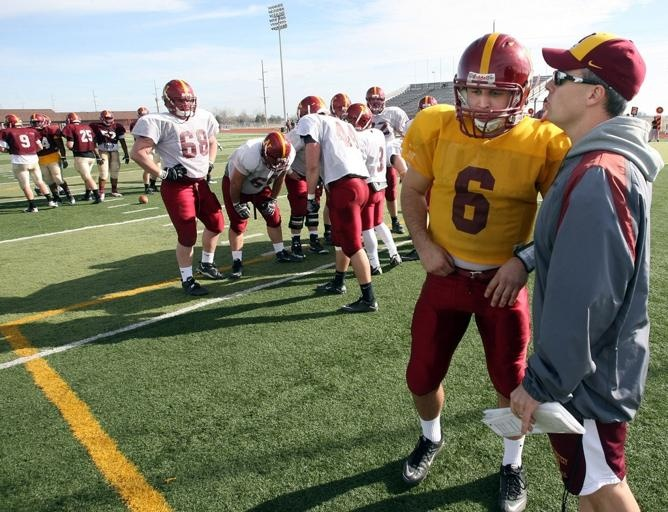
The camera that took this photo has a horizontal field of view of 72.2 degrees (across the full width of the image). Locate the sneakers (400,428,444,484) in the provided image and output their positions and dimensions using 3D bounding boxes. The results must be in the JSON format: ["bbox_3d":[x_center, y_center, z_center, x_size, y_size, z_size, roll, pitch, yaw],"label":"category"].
[{"bbox_3d":[0.467,1.031,2.431,0.108,0.127,0.324,22,36,30],"label":"sneakers"}]

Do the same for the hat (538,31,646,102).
[{"bbox_3d":[0.948,-0.689,1.657,0.383,0.181,0.246,30,21,26],"label":"hat"}]

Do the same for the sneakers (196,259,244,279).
[{"bbox_3d":[-1.286,0.150,5.378,0.614,0.229,0.197,0,13,-7],"label":"sneakers"}]

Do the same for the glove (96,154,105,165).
[{"bbox_3d":[-5.115,-2.098,9.973,0.176,0.218,0.128,28,21,31],"label":"glove"}]

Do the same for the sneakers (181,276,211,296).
[{"bbox_3d":[-1.419,0.328,4.821,0.373,0.144,0.139,16,35,38],"label":"sneakers"}]

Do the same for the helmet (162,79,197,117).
[{"bbox_3d":[-1.605,-1.662,4.747,0.415,0.303,0.306,28,31,26],"label":"helmet"}]

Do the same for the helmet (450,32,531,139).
[{"bbox_3d":[0.724,-0.775,2.072,0.333,0.370,0.452,15,32,30],"label":"helmet"}]

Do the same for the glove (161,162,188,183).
[{"bbox_3d":[-1.601,-0.830,4.583,0.165,0.096,0.206,-13,18,-43],"label":"glove"}]

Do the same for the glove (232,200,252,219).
[{"bbox_3d":[-1.055,-0.518,5.167,0.113,0.134,0.204,13,-1,-27],"label":"glove"}]

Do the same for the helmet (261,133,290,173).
[{"bbox_3d":[-0.616,-1.056,4.715,0.294,0.349,0.320,-8,0,-19],"label":"helmet"}]

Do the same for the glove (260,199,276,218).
[{"bbox_3d":[-0.768,-0.554,5.329,0.152,0.166,0.177,21,46,-35],"label":"glove"}]

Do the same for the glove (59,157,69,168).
[{"bbox_3d":[-6.139,-2.147,10.427,0.206,0.254,0.094,17,21,37],"label":"glove"}]
